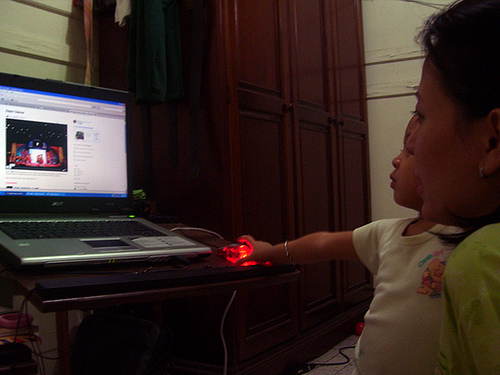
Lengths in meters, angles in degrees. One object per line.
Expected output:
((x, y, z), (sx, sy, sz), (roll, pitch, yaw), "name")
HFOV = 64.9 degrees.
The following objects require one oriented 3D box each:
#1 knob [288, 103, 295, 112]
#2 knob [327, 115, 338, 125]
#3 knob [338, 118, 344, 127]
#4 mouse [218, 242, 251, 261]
((0.194, -0.374, 1.845), (0.028, 0.036, 0.017), (1, 4, -38), "knob")
((0.459, -0.371, 2.193), (0.064, 0.055, 0.022), (-1, 3, -31), "knob")
((0.522, -0.374, 2.274), (0.029, 0.037, 0.056), (-16, 9, 24), "knob")
((-0.046, 0.166, 1.041), (0.050, 0.013, 0.048), (-14, 15, -35), "mouse")
